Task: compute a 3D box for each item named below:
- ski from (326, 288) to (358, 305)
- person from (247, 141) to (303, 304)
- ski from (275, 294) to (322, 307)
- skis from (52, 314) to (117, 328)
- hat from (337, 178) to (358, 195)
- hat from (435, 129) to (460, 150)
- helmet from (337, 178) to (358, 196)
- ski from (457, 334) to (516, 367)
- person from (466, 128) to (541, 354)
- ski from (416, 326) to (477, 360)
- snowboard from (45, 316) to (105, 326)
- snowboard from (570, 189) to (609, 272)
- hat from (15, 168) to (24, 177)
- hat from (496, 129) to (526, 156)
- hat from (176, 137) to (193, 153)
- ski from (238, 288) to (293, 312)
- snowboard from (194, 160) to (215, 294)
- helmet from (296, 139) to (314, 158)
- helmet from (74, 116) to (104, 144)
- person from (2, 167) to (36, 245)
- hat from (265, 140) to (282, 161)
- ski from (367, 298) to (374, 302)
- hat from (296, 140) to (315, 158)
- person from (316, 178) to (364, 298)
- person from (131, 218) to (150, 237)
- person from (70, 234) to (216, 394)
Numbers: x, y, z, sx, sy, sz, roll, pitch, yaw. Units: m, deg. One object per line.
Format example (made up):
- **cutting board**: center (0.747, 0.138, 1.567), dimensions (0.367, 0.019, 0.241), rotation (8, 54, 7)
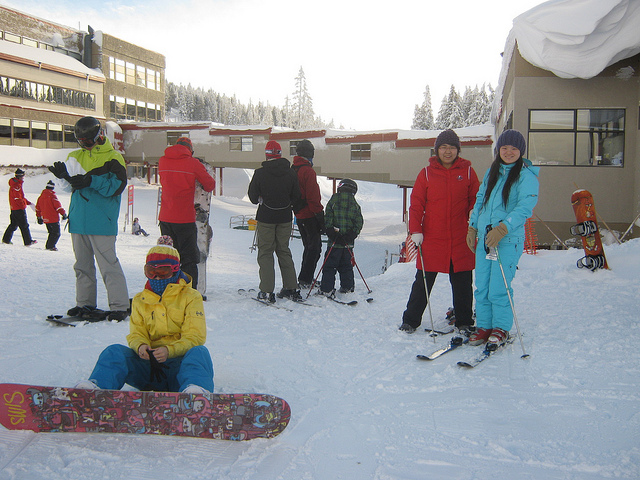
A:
- **ski**: center (0.300, 0.864, 8.140), dimensions (0.564, 0.108, 0.170), rotation (14, 15, 39)
- **person**: center (-0.599, -0.248, 7.694), dimensions (0.743, 2.135, 0.646), rotation (-7, 17, -31)
- **ski**: center (-0.334, 0.864, 7.827), dimensions (0.080, 0.057, 0.716), rotation (-30, 23, -35)
- **skis**: center (-2.830, 0.905, 6.378), dimensions (0.468, 0.094, 0.272), rotation (9, 2, 17)
- **hat**: center (0.429, -0.839, 8.513), dimensions (0.261, 0.260, 0.221), rotation (33, 19, 37)
- **hat**: center (1.524, -1.215, 6.563), dimensions (0.214, 0.186, 0.229), rotation (3, 21, 8)
- **helmet**: center (0.392, -0.859, 8.476), dimensions (0.216, 0.266, 0.279), rotation (12, 24, -28)
- **ski**: center (1.816, 1.214, 6.005), dimensions (0.100, 0.052, 0.937), rotation (8, 14, 35)
- **person**: center (2.027, 0.010, 6.163), dimensions (0.667, 2.403, 0.932), rotation (1, 14, 0)
- **ski**: center (1.518, 1.156, 6.256), dimensions (0.971, 0.082, 0.131), rotation (-14, 44, -38)
- **snowboard**: center (-2.846, 0.935, 6.344), dimensions (0.594, 0.055, 0.200), rotation (3, 16, 2)
- **snowboard**: center (4.412, -0.195, 9.080), dimensions (0.245, 1.485, 0.356), rotation (24, -34, -27)
- **hat**: center (-6.088, -1.357, 11.157), dimensions (0.192, 0.130, 0.177), rotation (0, 3, -11)
- **hat**: center (2.146, -1.099, 6.209), dimensions (0.292, 0.287, 0.353), rotation (6, 16, 17)
- **hat**: center (-1.753, -1.284, 7.279), dimensions (0.217, 0.230, 0.162), rotation (-20, 36, -35)
- **ski**: center (-0.751, 0.837, 7.609), dimensions (0.748, 0.087, 0.039), rotation (21, 6, 27)
- **snowboard**: center (-1.615, -0.195, 7.522), dimensions (0.362, 1.592, 0.258), rotation (7, 15, 23)
- **helmet**: center (-0.237, -1.407, 8.594), dimensions (0.230, 0.296, 0.282), rotation (4, -2, 9)
- **helmet**: center (-2.673, -1.293, 6.427), dimensions (0.222, 0.297, 0.301), rotation (4, 50, -8)
- **person**: center (-6.355, -0.696, 11.560), dimensions (0.572, 1.700, 0.978), rotation (-6, 16, -26)
- **hat**: center (-0.651, -1.253, 7.765), dimensions (0.212, 0.268, 0.260), rotation (1, 21, -4)
- **ski**: center (0.750, 0.894, 8.307), dimensions (0.076, 0.033, 0.140), rotation (7, 17, 19)
- **hat**: center (-0.241, -1.414, 8.594), dimensions (0.222, 0.284, 0.267), rotation (10, -16, 12)
- **person**: center (0.290, 0.006, 8.445), dimensions (0.825, 1.783, 0.459), rotation (-12, 19, -42)
- **person**: center (-5.668, -0.405, 17.265), dimensions (0.400, 0.399, 0.929), rotation (-7, 18, -30)
- **person**: center (-1.376, 0.704, 4.881), dimensions (1.013, 1.395, 1.148), rotation (-1, -3, 9)
